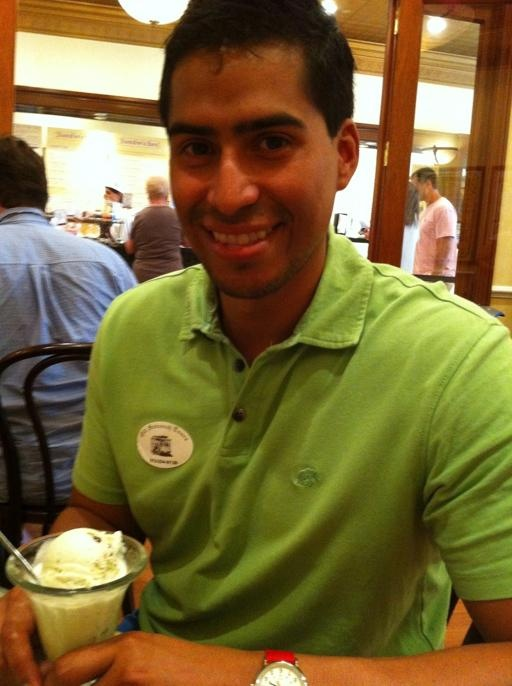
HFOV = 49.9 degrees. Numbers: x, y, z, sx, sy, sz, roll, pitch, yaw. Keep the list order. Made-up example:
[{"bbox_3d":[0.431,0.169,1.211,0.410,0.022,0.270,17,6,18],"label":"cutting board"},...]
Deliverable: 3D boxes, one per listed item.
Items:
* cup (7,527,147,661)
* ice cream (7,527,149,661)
[{"bbox_3d":[-0.203,0.303,0.690,0.166,0.119,0.161,-1,8,0],"label":"cup"},{"bbox_3d":[-0.197,0.300,0.663,0.120,0.176,0.133,9,14,31],"label":"ice cream"}]
